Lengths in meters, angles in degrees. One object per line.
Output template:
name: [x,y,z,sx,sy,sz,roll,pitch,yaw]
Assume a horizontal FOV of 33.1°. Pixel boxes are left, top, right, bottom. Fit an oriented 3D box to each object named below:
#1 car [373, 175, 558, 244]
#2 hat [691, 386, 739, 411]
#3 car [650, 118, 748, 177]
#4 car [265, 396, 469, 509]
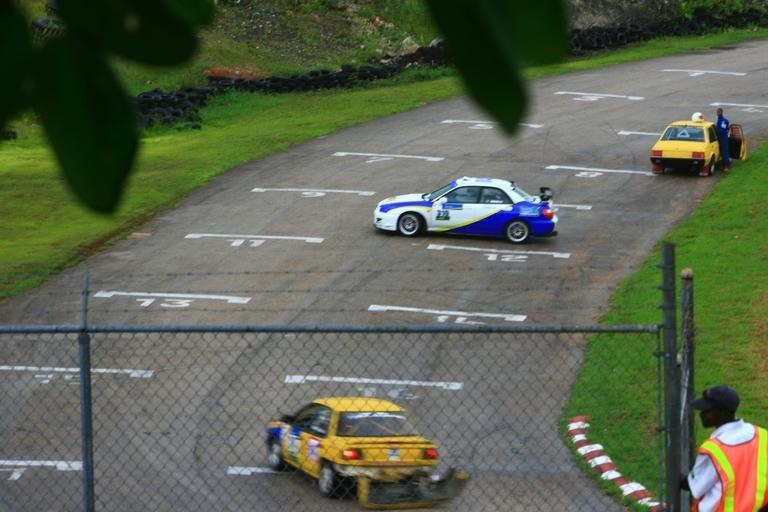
car: [1.904,-1.126,30.216,4.056,0.938,1.609,5,11,9]
hat: [4.242,1.812,16.597,0.547,0.206,0.327,5,3,11]
car: [8.393,-3.016,34.660,2.472,0.943,2.818,7,19,24]
car: [-0.281,3.049,19.902,1.511,0.861,3.173,-2,3,-35]
